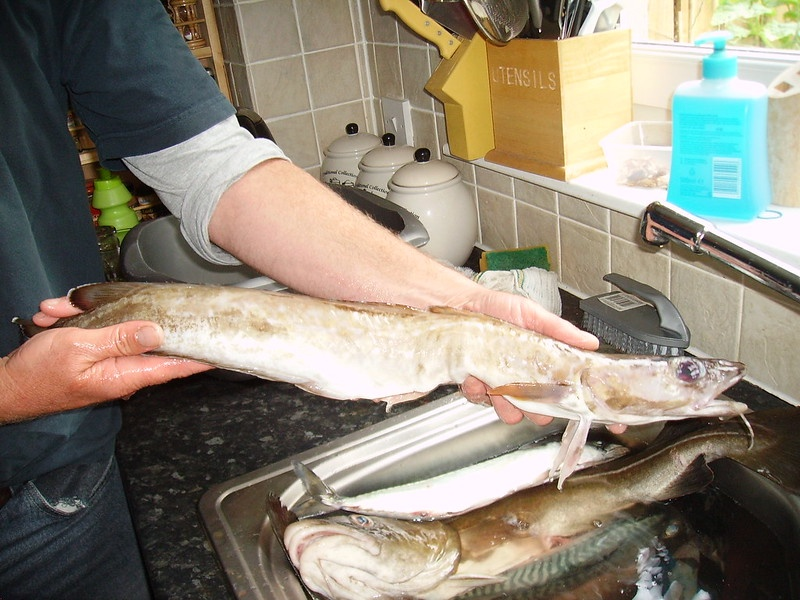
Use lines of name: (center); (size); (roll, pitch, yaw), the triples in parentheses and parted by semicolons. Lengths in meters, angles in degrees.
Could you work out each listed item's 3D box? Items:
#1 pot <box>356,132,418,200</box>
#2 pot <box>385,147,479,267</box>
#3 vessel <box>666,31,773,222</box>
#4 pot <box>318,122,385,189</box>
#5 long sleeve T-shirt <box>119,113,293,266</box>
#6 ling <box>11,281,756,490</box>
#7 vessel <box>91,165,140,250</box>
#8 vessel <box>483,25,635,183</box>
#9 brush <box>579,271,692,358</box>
pot: (-0.038, -0.330, 1.439); (0.175, 0.138, 0.164); (-11, 26, 5)
pot: (0.068, -0.223, 1.338); (0.229, 0.282, 0.220); (-7, 34, 5)
vessel: (0.506, -0.271, 0.868); (0.104, 0.265, 0.161); (-27, 28, -21)
pot: (-0.144, -0.413, 1.571); (0.198, 0.179, 0.187); (-4, 22, 2)
long sleeve T-shirt: (-0.247, -0.180, 0.889); (0.256, 0.187, 0.118); (35, 21, 8)
ling: (-0.012, 0.119, 0.750); (1.044, 0.211, 0.209); (7, 12, -1)
vessel: (-0.826, -0.262, 1.624); (0.113, 0.246, 0.105); (-13, 31, -20)
vessel: (0.338, -0.417, 1.158); (0.274, 0.236, 0.276); (-26, 33, -27)
brush: (0.391, 0.017, 0.925); (0.123, 0.092, 0.197); (-19, 27, -19)
